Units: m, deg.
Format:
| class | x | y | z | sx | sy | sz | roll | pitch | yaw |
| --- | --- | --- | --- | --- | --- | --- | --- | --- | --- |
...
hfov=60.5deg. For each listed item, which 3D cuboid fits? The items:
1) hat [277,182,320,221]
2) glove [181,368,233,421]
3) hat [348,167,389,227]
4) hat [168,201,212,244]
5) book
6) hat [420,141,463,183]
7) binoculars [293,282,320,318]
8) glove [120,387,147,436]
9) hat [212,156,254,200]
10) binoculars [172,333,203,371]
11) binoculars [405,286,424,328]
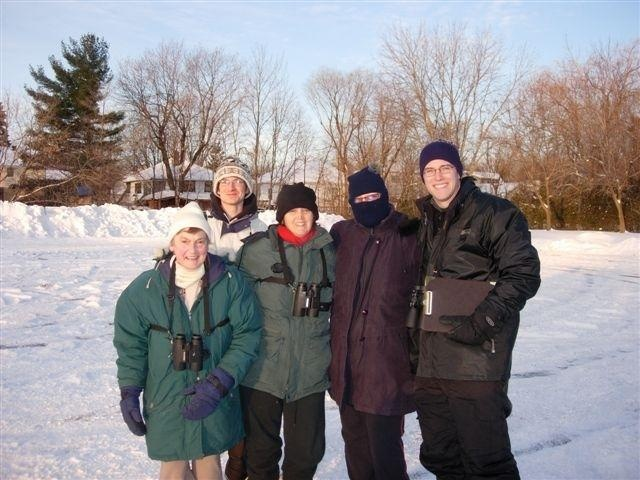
| class | x | y | z | sx | sy | sz | roll | pitch | yaw |
| --- | --- | --- | --- | --- | --- | --- | --- | --- | --- |
| hat | -0.216 | -0.382 | 5.144 | 0.329 | 0.335 | 0.355 | 0 | -13 | 4 |
| glove | -0.897 | 1.273 | 4.502 | 0.432 | 0.308 | 0.171 | -45 | -14 | -14 |
| hat | 0.503 | -0.440 | 5.179 | 0.354 | 0.519 | 0.534 | -20 | 8 | 19 |
| hat | -1.113 | -0.157 | 4.748 | 0.271 | 0.289 | 0.383 | 5 | -12 | -18 |
| book | 1.066 | 0.489 | 4.335 | 0.522 | 0.395 | 0.140 | 4 | 1 | 12 |
| hat | 1.041 | -0.709 | 4.783 | 0.299 | 0.291 | 0.339 | -3 | -25 | 18 |
| binoculars | -0.123 | 0.522 | 4.822 | 0.267 | 0.271 | 0.097 | -1 | 3 | -5 |
| glove | -1.488 | 1.369 | 4.363 | 0.173 | 0.380 | 0.201 | -4 | 12 | -22 |
| hat | -0.867 | -0.692 | 5.588 | 0.373 | 0.411 | 0.496 | 1 | -41 | -4 |
| binoculars | -1.061 | 0.903 | 4.378 | 0.266 | 0.274 | 0.104 | 0 | 7 | -11 |
| binoculars | 0.810 | 0.586 | 4.706 | 0.105 | 0.332 | 0.329 | 6 | -9 | 11 |
